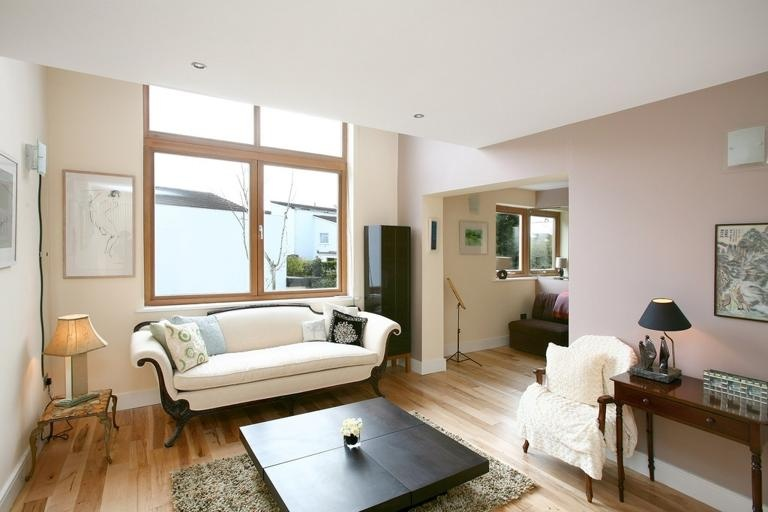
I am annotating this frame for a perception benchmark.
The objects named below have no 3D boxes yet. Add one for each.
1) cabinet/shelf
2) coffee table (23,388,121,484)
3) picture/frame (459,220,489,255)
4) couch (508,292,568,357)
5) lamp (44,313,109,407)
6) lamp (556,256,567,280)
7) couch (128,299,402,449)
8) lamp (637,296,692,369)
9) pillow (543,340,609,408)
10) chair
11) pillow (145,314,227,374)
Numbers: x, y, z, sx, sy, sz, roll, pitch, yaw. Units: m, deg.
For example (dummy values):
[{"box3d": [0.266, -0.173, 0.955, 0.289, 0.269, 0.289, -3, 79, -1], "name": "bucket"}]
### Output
[{"box3d": [0.116, 0.555, 6.868, 0.570, 1.937, 0.519, 5, -8, -16], "name": "cabinet/shelf"}, {"box3d": [-2.902, 1.659, 4.712, 0.659, 0.426, 0.821, 0, -1, -29], "name": "coffee table"}, {"box3d": [1.341, -0.284, 7.626, 0.562, 0.540, 0.037, 0, -2, -33], "name": "picture/frame"}, {"box3d": [2.492, 1.045, 7.631, 0.681, 0.890, 1.145, -5, 3, -21], "name": "couch"}, {"box3d": [-2.965, 0.993, 4.801, 0.585, 0.749, 0.565, -3, 0, -19], "name": "lamp"}, {"box3d": [3.051, 0.181, 8.602, 0.168, 0.317, 0.403, -1, 3, 12], "name": "lamp"}, {"box3d": [-1.259, 1.173, 5.781, 3.024, 1.126, 1.052, -1, 1, -30], "name": "couch"}, {"box3d": [2.424, 0.671, 4.289, 0.407, 0.605, 0.336, -4, 4, -45], "name": "lamp"}, {"box3d": [1.815, 1.116, 4.682, 0.210, 0.543, 0.587, 21, -14, -41], "name": "pillow"}, {"box3d": [1.792, 1.390, 4.702, 0.756, 1.216, 1.065, -5, 7, -29], "name": "chair"}, {"box3d": [-2.051, 0.884, 5.263, 0.179, 0.564, 0.605, -25, -7, 19], "name": "pillow"}]
